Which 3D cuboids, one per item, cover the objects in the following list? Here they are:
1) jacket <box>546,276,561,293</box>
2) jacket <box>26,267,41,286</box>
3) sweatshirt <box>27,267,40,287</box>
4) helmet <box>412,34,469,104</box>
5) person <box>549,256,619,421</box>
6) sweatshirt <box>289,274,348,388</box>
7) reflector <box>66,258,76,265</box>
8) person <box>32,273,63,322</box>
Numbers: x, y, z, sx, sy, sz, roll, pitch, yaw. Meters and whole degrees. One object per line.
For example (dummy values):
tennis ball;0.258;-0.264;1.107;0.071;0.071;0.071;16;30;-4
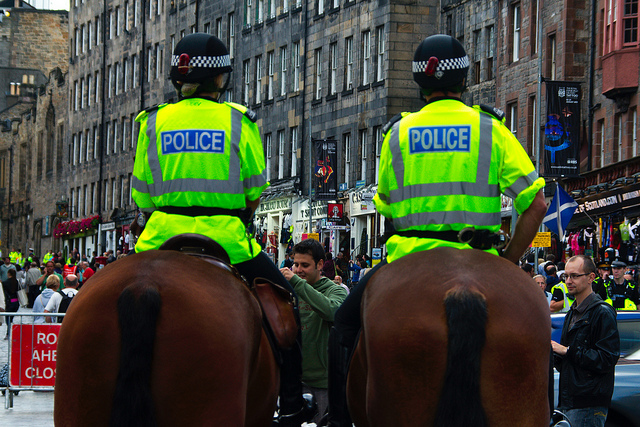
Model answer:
jacket;4.655;1.422;24.095;0.322;0.394;0.241;5;-6;29
jacket;-9.891;2.190;41.306;0.677;0.594;0.345;-1;6;-20
sweatshirt;-9.919;2.213;41.402;0.666;0.654;0.386;2;3;-38
helmet;1.032;-1.248;10.277;0.467;0.600;0.247;-3;-4;4
person;2.923;1.412;13.227;0.691;1.713;0.790;-3;-4;9
sweatshirt;0.030;1.282;12.900;0.518;1.251;1.361;-3;-4;0
reflector;-9.235;1.740;44.189;0.344;0.207;0.407;2;-6;-10
person;-5.268;1.637;23.257;0.496;1.451;0.453;2;12;-3
